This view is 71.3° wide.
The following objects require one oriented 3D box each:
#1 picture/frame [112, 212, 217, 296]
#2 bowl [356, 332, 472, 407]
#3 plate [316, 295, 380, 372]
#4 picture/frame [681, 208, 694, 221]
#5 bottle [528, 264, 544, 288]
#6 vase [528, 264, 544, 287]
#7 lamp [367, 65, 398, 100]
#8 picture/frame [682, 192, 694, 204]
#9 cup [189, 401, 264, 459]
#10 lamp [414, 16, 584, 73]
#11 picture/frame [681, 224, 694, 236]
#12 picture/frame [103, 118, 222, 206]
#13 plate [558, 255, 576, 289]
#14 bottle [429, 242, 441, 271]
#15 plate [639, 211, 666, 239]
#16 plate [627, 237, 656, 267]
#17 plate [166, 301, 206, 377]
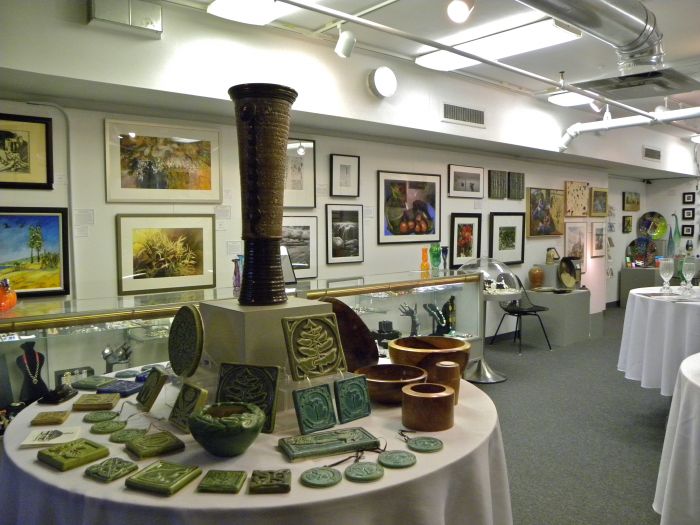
[{"bbox_3d":[-1.614,-0.078,4.140,0.677,0.554,0.026,-4,6,-32],"label":"picture/frame"},{"bbox_3d":[0.241,0.376,1.828,0.345,0.128,0.226,-8,10,-44],"label":"bowl"},{"bbox_3d":[-0.025,0.290,1.985,0.065,0.294,0.224,-16,-5,32],"label":"plate"},{"bbox_3d":[7.354,-1.074,10.662,0.022,0.280,0.270,-2,4,-43],"label":"picture/frame"},{"bbox_3d":[2.816,0.224,7.457,0.299,0.393,0.318,1,1,0],"label":"bottle"},{"bbox_3d":[2.805,0.213,7.458,0.290,0.383,0.297,1,0,9],"label":"vase"},{"bbox_3d":[0.349,-1.783,4.828,0.167,0.302,0.400,9,13,36],"label":"lamp"},{"bbox_3d":[7.317,-1.407,10.596,0.023,0.283,0.274,2,0,-32],"label":"picture/frame"},{"bbox_3d":[-0.352,0.479,1.467,0.158,0.095,0.161,2,1,0],"label":"cup"},{"bbox_3d":[1.315,-1.957,4.424,1.360,0.236,0.464,12,16,43],"label":"lamp"},{"bbox_3d":[7.404,-0.726,10.736,0.020,0.263,0.245,2,0,-40],"label":"picture/frame"},{"bbox_3d":[-1.634,-0.858,4.146,0.793,0.579,0.027,-3,3,-35],"label":"picture/frame"},{"bbox_3d":[3.421,0.182,7.722,0.092,0.451,0.443,-3,23,36],"label":"plate"},{"bbox_3d":[0.897,-0.056,5.206,0.110,0.280,0.357,2,11,8],"label":"bottle"},{"bbox_3d":[6.810,-0.840,11.079,0.703,0.606,0.226,-1,11,-10],"label":"plate"},{"bbox_3d":[6.537,-0.265,10.979,1.001,0.571,0.255,-6,12,-31],"label":"plate"},{"bbox_3d":[-0.592,0.289,1.773,0.044,0.314,0.304,3,-7,-31],"label":"plate"}]
